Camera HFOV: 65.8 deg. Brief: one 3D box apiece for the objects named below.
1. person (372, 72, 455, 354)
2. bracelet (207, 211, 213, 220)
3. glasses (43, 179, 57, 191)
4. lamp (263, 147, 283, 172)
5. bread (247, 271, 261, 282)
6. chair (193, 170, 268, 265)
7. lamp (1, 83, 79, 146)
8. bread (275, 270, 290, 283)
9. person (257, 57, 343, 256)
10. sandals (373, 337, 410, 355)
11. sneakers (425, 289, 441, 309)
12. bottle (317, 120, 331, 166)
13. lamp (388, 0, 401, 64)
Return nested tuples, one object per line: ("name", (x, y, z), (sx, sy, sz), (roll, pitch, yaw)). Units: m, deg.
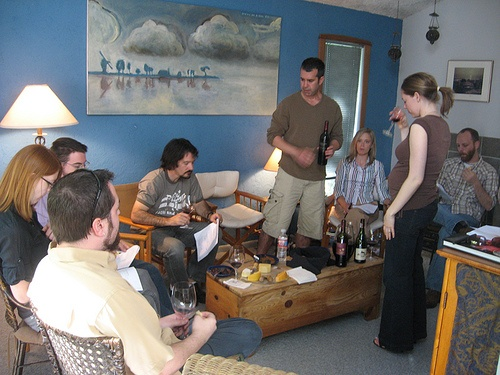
("person", (1.145, 0.225, 2.746), (0.411, 1.996, 0.359), (9, 16, 27))
("bracelet", (-0.369, 0.252, 3.598), (0.044, 0.065, 0.069), (32, 23, -4))
("glasses", (-0.984, -0.015, 1.908), (0.057, 0.033, 0.035), (36, 56, 21))
("lamp", (0.289, -0.302, 4.574), (0.228, 0.245, 0.229), (29, 11, 33))
("bread", (0.041, 0.635, 2.794), (0.063, 0.051, 0.065), (2, 3, 28))
("chair", (-0.261, 0.315, 4.180), (0.731, 0.944, 0.788), (-2, 11, -21))
("lamp", (-1.757, -0.654, 3.402), (0.584, 0.785, 0.624), (-4, 10, -27))
("bread", (0.238, 0.644, 2.808), (0.137, 0.053, 0.044), (-10, 18, -42))
("person", (0.499, -0.088, 3.671), (0.796, 2.158, 0.659), (1, 12, -14))
("sandals", (1.046, 1.191, 2.894), (0.261, 0.087, 0.096), (3, 10, 45))
("sneakers", (1.671, 1.029, 3.560), (0.299, 0.136, 0.105), (8, -7, -44))
("bottle", (0.683, -0.404, 3.586), (0.102, 0.418, 0.246), (4, 14, 10))
("lamp", (2.050, -2.151, 5.411), (0.182, 0.780, 0.743), (7, 15, 19))
